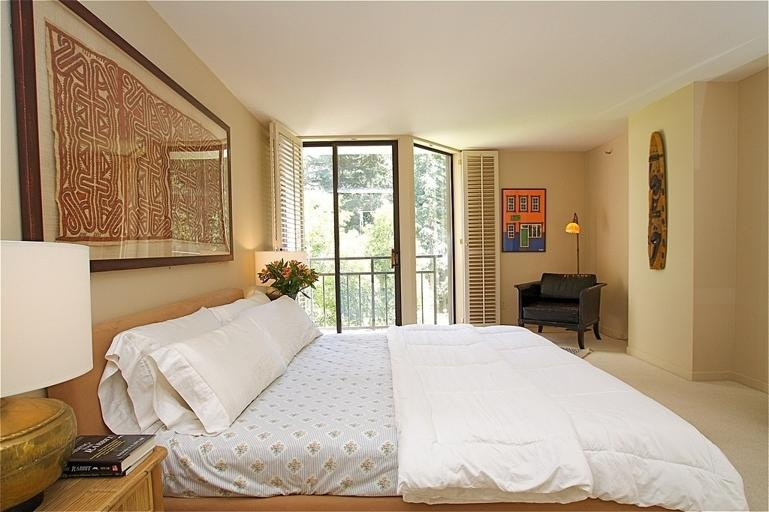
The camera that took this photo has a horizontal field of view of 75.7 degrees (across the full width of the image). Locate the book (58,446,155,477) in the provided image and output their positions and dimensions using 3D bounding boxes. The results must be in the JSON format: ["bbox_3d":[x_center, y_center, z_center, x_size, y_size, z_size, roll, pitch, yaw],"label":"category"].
[{"bbox_3d":[-1.384,0.985,2.403,0.312,0.062,0.324,4,-3,-18],"label":"book"}]

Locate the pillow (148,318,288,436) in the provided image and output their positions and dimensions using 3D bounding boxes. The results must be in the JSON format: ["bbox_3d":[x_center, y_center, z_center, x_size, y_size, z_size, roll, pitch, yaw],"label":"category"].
[{"bbox_3d":[-0.998,0.664,3.142,0.496,0.430,1.112,2,7,11],"label":"pillow"}]

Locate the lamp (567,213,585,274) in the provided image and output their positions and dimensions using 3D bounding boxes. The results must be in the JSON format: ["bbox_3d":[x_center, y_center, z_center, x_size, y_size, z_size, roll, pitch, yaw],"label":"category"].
[{"bbox_3d":[2.492,-0.159,6.496,0.218,0.817,0.669,0,2,22],"label":"lamp"}]

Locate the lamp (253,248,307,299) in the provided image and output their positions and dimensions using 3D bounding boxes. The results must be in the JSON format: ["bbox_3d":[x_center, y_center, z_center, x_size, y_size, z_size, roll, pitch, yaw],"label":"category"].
[{"bbox_3d":[-1.013,0.141,4.739,0.444,0.337,0.412,0,0,-12],"label":"lamp"}]

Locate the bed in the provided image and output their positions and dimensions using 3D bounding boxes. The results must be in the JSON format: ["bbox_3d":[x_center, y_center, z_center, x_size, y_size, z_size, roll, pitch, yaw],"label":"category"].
[{"bbox_3d":[-0.030,0.782,3.353,3.145,1.042,2.314,-1,1,8],"label":"bed"}]

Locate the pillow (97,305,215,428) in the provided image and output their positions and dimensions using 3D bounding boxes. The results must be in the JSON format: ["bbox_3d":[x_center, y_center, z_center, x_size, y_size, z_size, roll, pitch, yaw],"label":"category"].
[{"bbox_3d":[-1.275,0.621,2.713,0.137,0.513,0.477,-9,-25,30],"label":"pillow"}]

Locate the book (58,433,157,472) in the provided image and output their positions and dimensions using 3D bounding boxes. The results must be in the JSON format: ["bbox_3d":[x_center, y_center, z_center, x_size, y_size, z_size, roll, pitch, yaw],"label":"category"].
[{"bbox_3d":[-1.303,0.929,2.312,0.204,0.052,0.222,1,-2,8],"label":"book"}]

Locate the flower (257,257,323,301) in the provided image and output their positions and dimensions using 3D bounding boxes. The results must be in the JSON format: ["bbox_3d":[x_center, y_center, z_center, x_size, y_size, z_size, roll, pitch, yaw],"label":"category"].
[{"bbox_3d":[-0.932,0.213,4.634,0.488,0.319,0.452,-3,6,-23],"label":"flower"}]
